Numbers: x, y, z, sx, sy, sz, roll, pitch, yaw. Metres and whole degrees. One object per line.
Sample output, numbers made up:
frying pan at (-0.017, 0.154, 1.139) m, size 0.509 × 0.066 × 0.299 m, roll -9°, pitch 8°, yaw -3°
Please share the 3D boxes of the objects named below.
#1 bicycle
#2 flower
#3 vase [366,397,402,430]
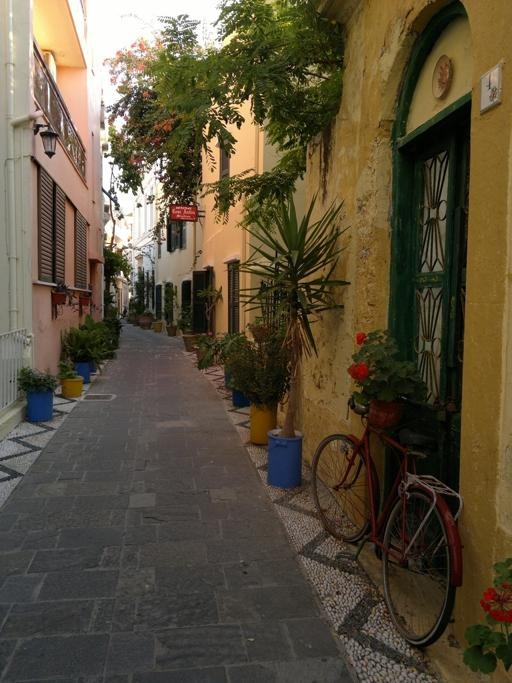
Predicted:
bicycle at (0.673, 0.815, 2.867) m, size 0.238 × 0.859 × 1.425 m, roll 4°, pitch 8°, yaw -15°
flower at (0.679, 0.186, 2.753) m, size 0.376 × 0.150 × 0.338 m, roll 12°, pitch 22°, yaw 39°
vase at (0.635, 0.358, 2.771) m, size 0.143 × 0.127 × 0.133 m, roll 1°, pitch 1°, yaw -19°
